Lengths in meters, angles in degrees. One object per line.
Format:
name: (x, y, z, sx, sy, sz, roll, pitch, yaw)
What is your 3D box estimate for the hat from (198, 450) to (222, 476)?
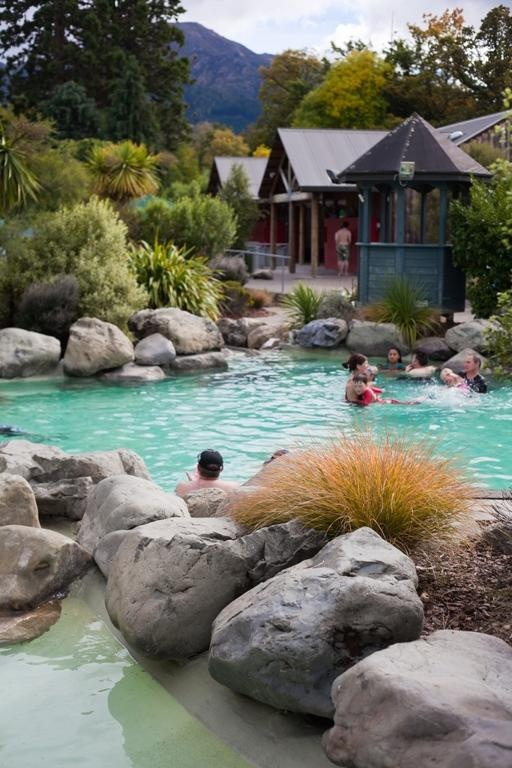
hat: (-0.435, 0.792, 6.062, 0.182, 0.171, 0.274, 1, 33, -6)
